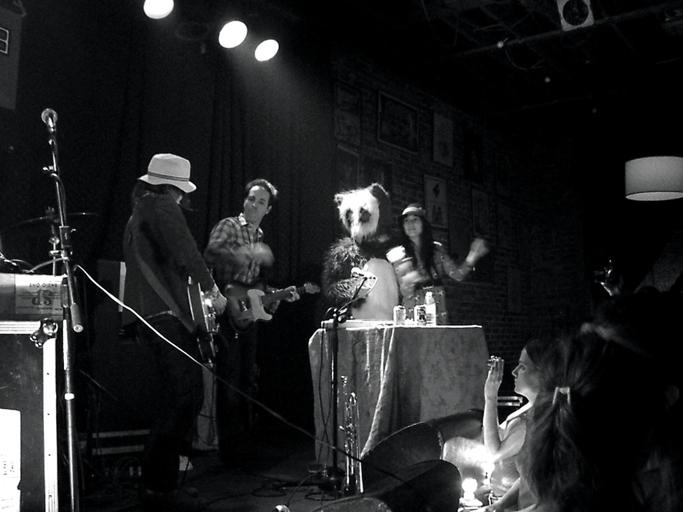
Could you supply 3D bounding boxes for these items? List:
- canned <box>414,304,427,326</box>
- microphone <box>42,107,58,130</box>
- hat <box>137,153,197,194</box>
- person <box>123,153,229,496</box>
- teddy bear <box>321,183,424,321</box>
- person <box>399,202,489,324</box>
[{"bbox_3d":[0.570,0.431,5.097,0.102,0.224,0.111,0,-6,-2],"label":"canned"},{"bbox_3d":[-1.628,-0.761,3.923,0.061,0.163,0.180,2,-4,-19],"label":"microphone"},{"bbox_3d":[-1.190,-0.521,4.830,0.296,0.169,0.274,22,5,-41],"label":"hat"},{"bbox_3d":[-1.153,0.426,4.774,0.664,2.241,0.666,2,-4,-15],"label":"person"},{"bbox_3d":[0.269,-0.011,6.668,0.775,1.492,0.856,-5,-41,1],"label":"teddy bear"},{"bbox_3d":[1.069,0.087,7.434,1.060,0.799,1.663,-7,28,3],"label":"person"}]
